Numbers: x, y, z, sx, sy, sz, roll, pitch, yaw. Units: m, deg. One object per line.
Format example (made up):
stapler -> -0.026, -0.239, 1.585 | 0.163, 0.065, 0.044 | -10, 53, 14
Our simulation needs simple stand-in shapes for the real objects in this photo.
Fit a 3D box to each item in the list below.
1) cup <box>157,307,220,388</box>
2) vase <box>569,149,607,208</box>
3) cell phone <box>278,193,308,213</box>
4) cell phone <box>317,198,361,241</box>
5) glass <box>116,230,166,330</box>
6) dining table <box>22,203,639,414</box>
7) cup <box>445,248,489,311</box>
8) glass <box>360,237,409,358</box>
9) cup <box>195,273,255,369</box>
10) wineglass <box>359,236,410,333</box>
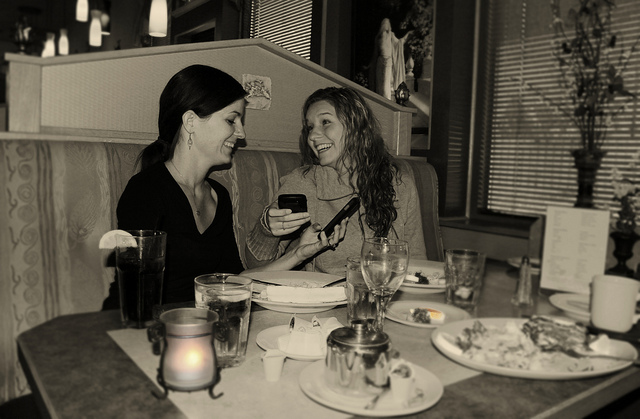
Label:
cup -> -0.362, 0.375, 1.507 | 0.199, 0.203, 0.193 | 0, 2, 0
vase -> 1.130, -0.134, 2.225 | 0.133, 0.243, 0.389 | 5, 10, 27
cell phone -> -0.118, -0.026, 2.223 | 0.112, 0.185, 0.019 | 0, 45, 3
cell phone -> 0.097, 0.051, 2.455 | 0.060, 0.243, 0.065 | 47, 14, 14
glass -> -0.560, 0.221, 1.652 | 0.148, 0.283, 0.117 | -3, 10, -21
dining table -> 0.122, 0.276, 1.616 | 1.931, 0.482, 0.708 | -1, 9, -10
cup -> 0.531, 0.269, 1.873 | 0.170, 0.225, 0.171 | 9, -4, 1
glass -> 0.206, 0.234, 1.706 | 0.151, 0.270, 0.251 | 2, 9, 6
cup -> -0.303, 0.323, 1.538 | 0.185, 0.263, 0.180 | -2, 14, 1
wineglass -> 0.204, 0.265, 1.700 | 0.155, 0.359, 0.144 | 2, 10, -9
